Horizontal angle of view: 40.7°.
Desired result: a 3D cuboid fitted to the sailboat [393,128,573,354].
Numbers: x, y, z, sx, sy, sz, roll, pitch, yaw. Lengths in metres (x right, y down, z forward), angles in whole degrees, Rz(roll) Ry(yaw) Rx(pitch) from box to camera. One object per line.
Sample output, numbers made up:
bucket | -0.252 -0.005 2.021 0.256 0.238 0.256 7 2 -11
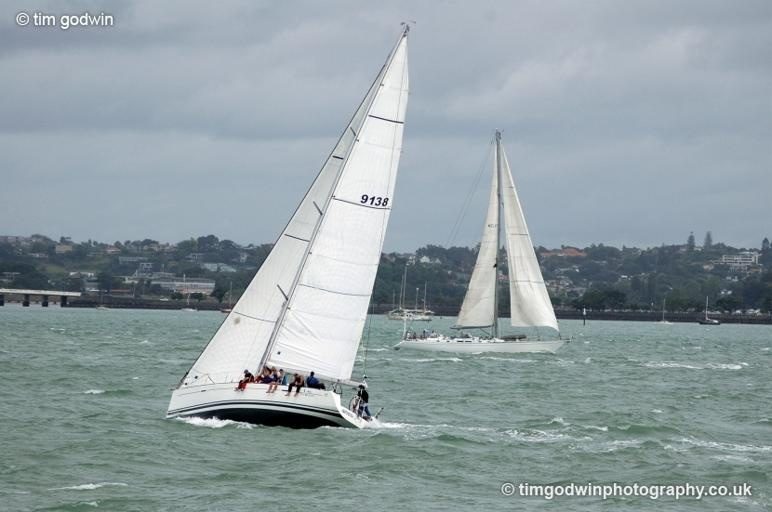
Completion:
sailboat | 6.430 -0.497 63.846 12.933 13.444 2.991 -2 -3 42
